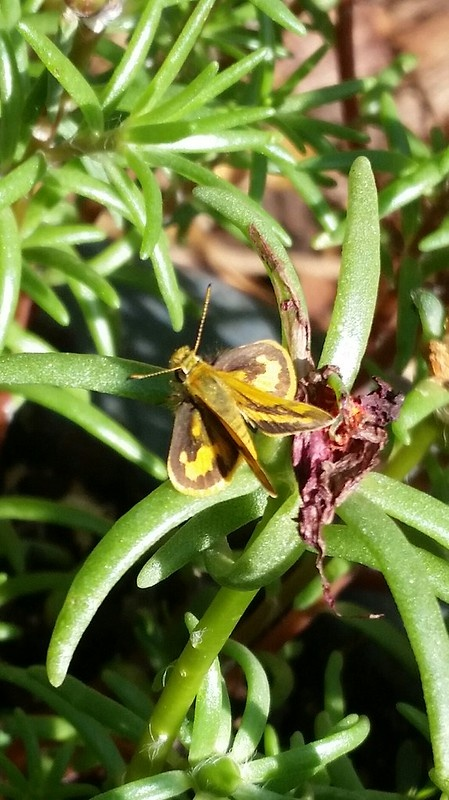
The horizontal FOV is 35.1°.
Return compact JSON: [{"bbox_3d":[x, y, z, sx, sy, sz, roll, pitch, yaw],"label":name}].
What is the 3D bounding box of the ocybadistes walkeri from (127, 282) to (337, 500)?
[{"bbox_3d":[-0.002,0.000,0.435,0.104,0.044,0.097,45,69,5],"label":"ocybadistes walkeri"}]
